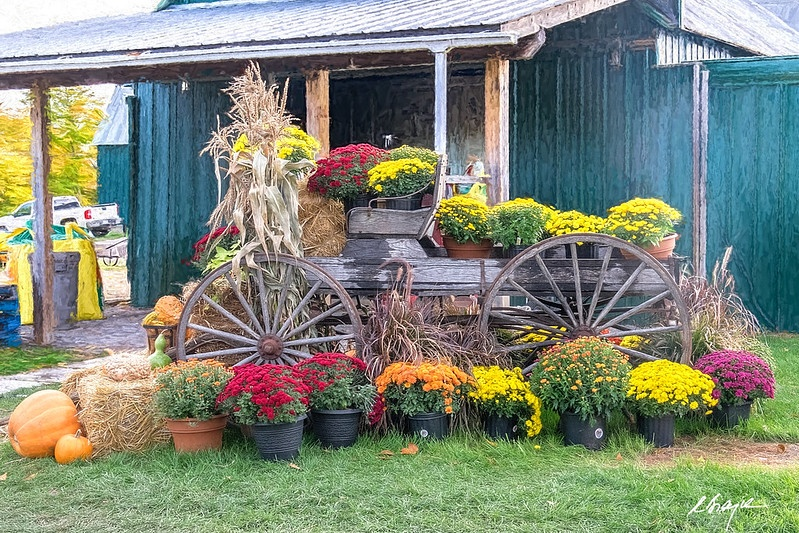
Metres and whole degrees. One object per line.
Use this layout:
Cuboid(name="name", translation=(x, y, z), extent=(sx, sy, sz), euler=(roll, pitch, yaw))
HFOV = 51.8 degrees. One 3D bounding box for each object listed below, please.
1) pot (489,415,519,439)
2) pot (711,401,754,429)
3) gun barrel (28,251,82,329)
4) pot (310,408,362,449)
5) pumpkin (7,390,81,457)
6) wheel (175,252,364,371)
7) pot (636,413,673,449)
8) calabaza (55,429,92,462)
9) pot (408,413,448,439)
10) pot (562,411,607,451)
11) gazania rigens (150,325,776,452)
Cuboid(name="pot", translation=(1.006, 1.549, 7.960), extent=(0.222, 0.173, 0.229), euler=(0, -1, 0))
Cuboid(name="pot", translation=(3.294, 1.468, 8.176), extent=(0.334, 0.167, 0.230), euler=(2, -4, -24))
Cuboid(name="gun barrel", translation=(-5.347, 0.345, 12.883), extent=(0.555, 1.171, 0.498), euler=(0, -1, 4))
Cuboid(name="pot", translation=(-0.599, 1.546, 7.889), extent=(0.474, 0.320, 0.477), euler=(-3, -15, -1))
Cuboid(name="pumpkin", translation=(-3.371, 1.437, 7.846), extent=(0.557, 0.597, 0.579), euler=(3, -4, -34))
Cuboid(name="wheel", translation=(-1.293, 0.804, 8.214), extent=(1.832, 1.886, 0.216), euler=(3, -16, -17))
Cuboid(name="pot", translation=(2.431, 1.548, 7.838), extent=(0.295, 0.235, 0.312), euler=(1, 0, 0))
Cuboid(name="calabaza", translation=(-3.033, 1.651, 7.652), extent=(0.251, 0.260, 0.255), euler=(-2, -4, -6))
Cuboid(name="pot", translation=(0.278, 1.508, 7.813), extent=(0.267, 0.174, 0.275), euler=(0, -6, 0))
Cuboid(name="pot", translation=(1.737, 1.550, 7.870), extent=(0.348, 0.277, 0.365), euler=(0, -5, 0))
Cuboid(name="gazania rigens", translation=(0.858, 1.233, 7.873), extent=(5.761, 0.994, 0.667), euler=(-2, 6, -6))
